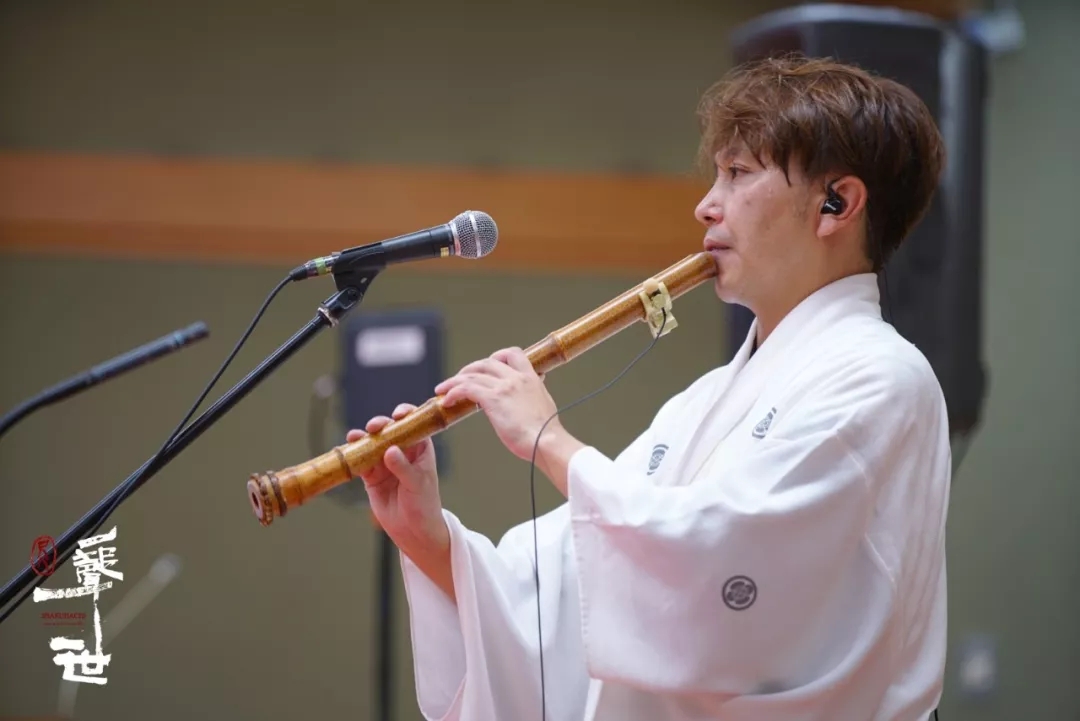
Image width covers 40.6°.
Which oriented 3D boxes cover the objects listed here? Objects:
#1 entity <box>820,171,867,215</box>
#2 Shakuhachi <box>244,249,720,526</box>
[{"bbox_3d":[0.730,-0.398,3.502,0.085,0.153,0.059,-1,-2,0],"label":"entity"},{"bbox_3d":[-0.201,0.090,4.090,1.287,0.224,0.183,-29,30,-5],"label":"Shakuhachi"}]
